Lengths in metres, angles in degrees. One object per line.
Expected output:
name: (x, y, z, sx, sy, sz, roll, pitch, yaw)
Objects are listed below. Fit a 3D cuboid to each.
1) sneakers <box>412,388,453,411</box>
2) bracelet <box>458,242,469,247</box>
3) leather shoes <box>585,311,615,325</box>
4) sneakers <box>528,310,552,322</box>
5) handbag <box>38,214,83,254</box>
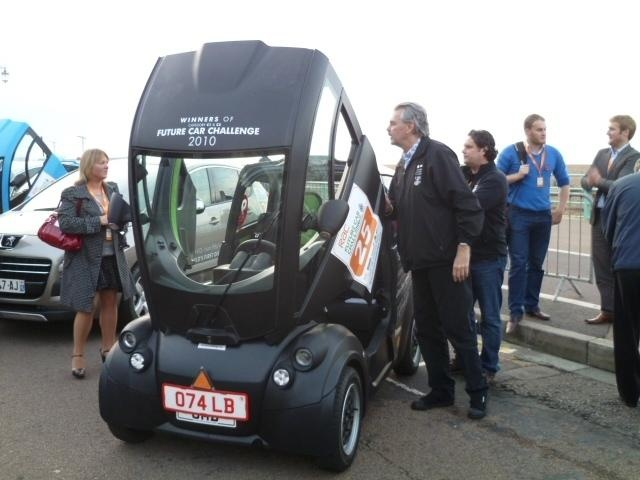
sneakers: (1.013, 1.446, 4.280, 0.401, 0.186, 0.154, 2, -3, -15)
bracelet: (1.167, 0.033, 3.803, 0.073, 0.032, 0.027, 2, 8, 9)
leather shoes: (3.590, 1.000, 5.983, 0.398, 0.190, 0.145, -1, 1, -8)
sneakers: (2.858, 0.971, 6.111, 0.277, 0.134, 0.108, 5, 20, 28)
handbag: (-2.625, -0.060, 4.779, 0.326, 0.359, 0.138, 13, -3, 18)
